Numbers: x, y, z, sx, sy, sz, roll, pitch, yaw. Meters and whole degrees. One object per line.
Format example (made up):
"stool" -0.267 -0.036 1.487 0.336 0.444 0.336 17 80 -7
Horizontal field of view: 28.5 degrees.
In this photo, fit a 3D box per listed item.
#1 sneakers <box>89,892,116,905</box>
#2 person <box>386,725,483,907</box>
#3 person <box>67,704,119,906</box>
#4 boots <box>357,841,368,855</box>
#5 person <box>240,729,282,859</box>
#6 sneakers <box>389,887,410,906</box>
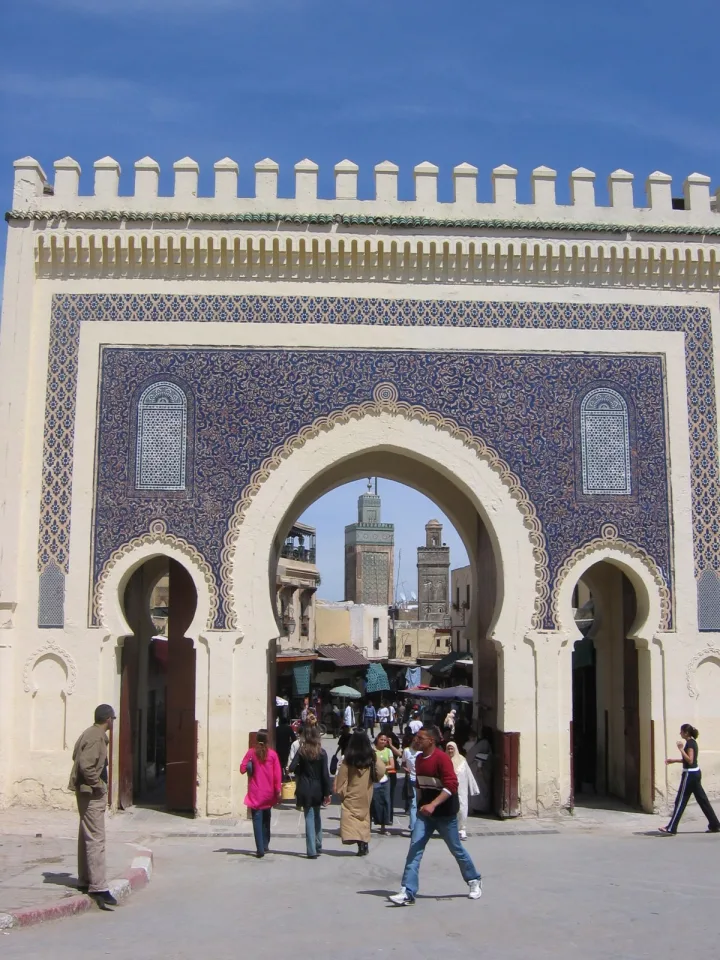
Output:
"sneakers" -1.404 2.297 7.774 0.147 0.090 0.080 4 -11 -21
"person" 0.409 1.891 8.064 0.514 0.972 0.614 -1 -10 4
"person" -1.498 1.816 7.991 0.272 1.110 0.401 2 -10 -12
"boots" 0.022 2.485 9.627 0.060 0.121 0.119 0 -14 3
"person" -0.692 2.148 9.763 0.264 0.846 0.436 0 -10 -4
"sneakers" 0.206 2.310 7.903 0.154 0.117 0.055 3 -16 -2
